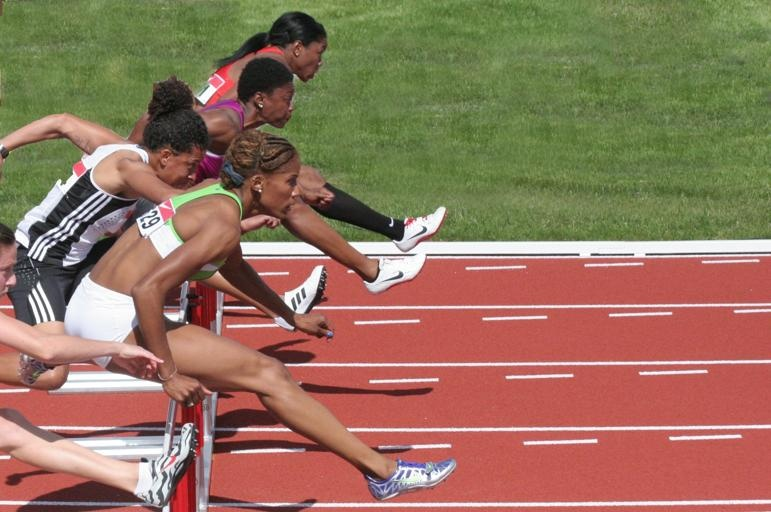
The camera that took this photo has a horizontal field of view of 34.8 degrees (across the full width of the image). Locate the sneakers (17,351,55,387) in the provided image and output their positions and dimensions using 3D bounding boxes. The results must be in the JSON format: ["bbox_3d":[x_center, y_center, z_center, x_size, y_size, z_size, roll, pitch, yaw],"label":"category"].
[{"bbox_3d":[-2.732,0.908,9.819,0.302,0.250,0.101,6,28,2],"label":"sneakers"}]
